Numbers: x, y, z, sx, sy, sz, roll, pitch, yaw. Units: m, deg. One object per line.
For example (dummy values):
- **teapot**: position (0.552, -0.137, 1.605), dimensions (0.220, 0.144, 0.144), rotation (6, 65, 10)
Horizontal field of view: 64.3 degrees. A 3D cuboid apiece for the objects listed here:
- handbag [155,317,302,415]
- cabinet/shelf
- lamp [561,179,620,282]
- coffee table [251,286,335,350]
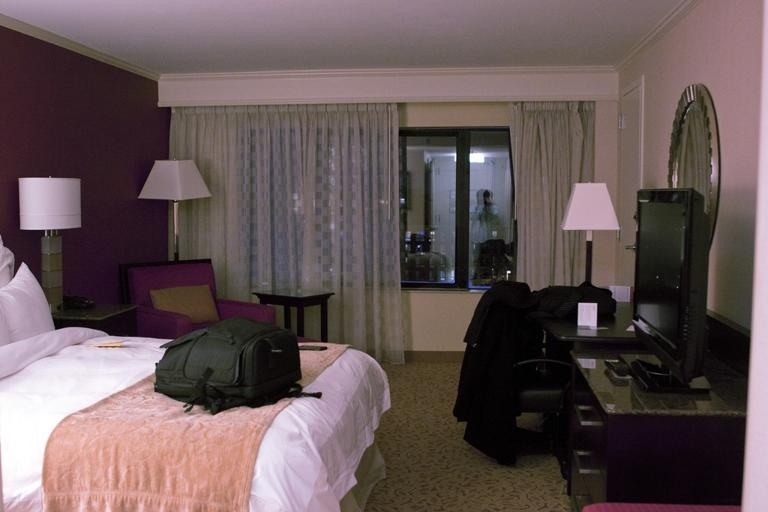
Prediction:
- **handbag**: position (-0.970, 0.658, 3.739), dimensions (0.601, 0.343, 0.603), rotation (1, 2, 7)
- **cabinet/shelf**: position (1.554, 0.999, 3.702), dimensions (0.793, 1.032, 1.100), rotation (1, 3, 11)
- **lamp**: position (1.744, -0.175, 5.196), dimensions (0.417, 0.912, 0.968), rotation (5, 14, 21)
- **coffee table**: position (-0.903, 0.589, 6.462), dimensions (0.647, 0.773, 0.663), rotation (0, -1, 34)
